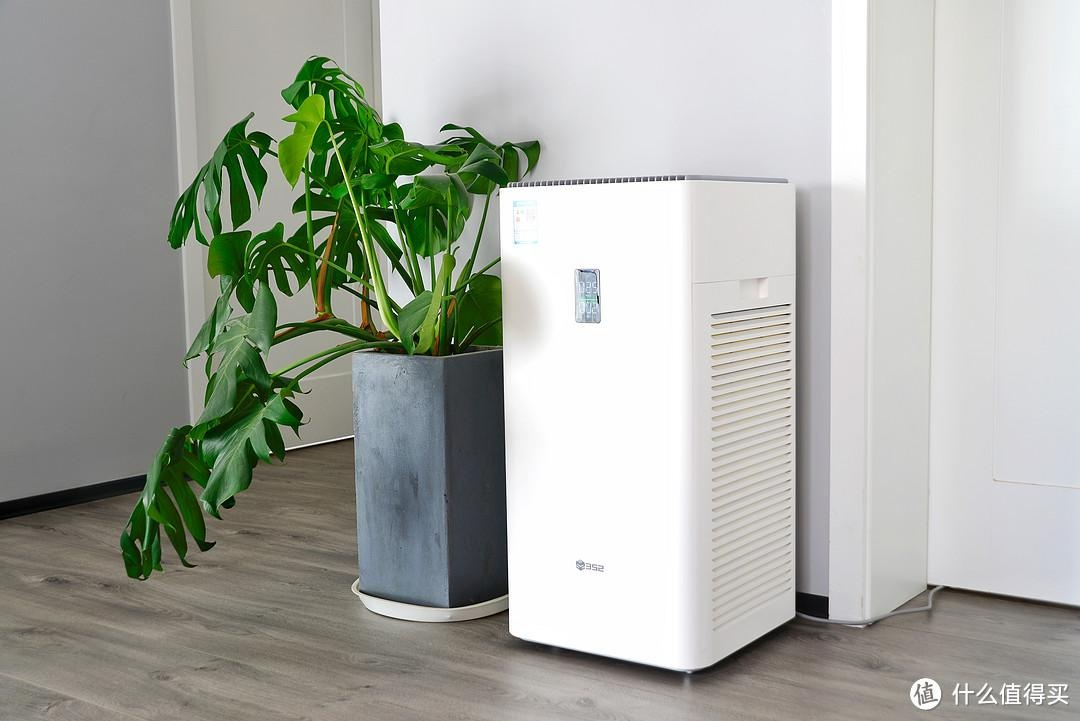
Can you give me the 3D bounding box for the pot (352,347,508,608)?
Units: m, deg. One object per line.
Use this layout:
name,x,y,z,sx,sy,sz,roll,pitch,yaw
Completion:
pot,-0.302,0.344,2.504,0.496,0.698,0.508,-1,0,0
